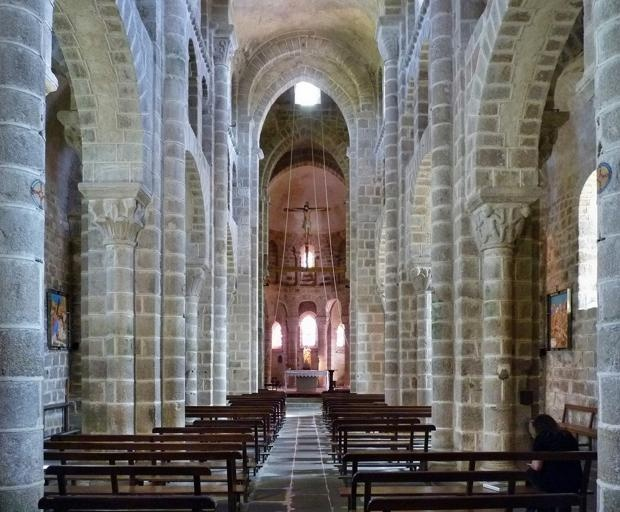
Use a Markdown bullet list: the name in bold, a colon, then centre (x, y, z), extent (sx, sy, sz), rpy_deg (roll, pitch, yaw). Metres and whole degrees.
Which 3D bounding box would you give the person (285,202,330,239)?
- **person**: centre (-0.110, -1.647, 43.049), extent (1.410, 1.506, 0.321), rpy_deg (1, -4, -3)
